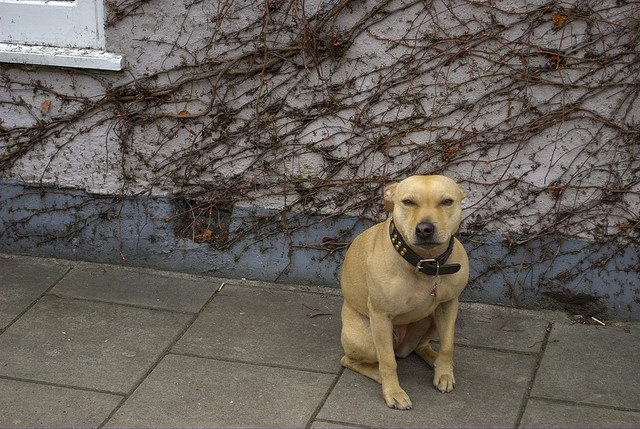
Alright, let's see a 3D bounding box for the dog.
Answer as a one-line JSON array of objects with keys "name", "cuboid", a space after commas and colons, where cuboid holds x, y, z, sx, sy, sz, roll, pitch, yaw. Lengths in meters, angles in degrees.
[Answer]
[{"name": "dog", "cuboid": [0.570, 0.521, 3.883, 0.921, 1.637, 0.745, 4, 24, 13]}]
